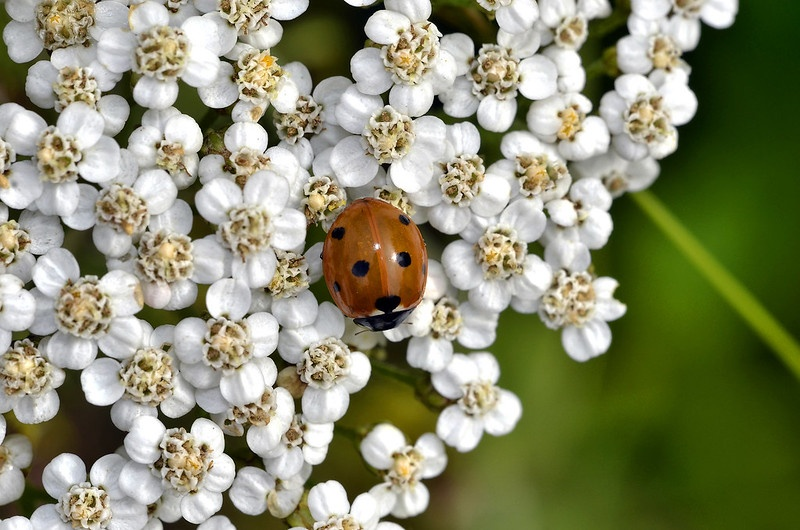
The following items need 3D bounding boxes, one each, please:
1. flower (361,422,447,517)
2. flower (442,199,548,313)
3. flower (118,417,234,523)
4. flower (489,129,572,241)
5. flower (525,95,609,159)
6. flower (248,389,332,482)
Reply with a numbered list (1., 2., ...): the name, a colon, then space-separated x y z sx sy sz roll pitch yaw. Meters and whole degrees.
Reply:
1. flower: 0.000 0.736 3.128 0.308 0.213 0.258 8 56 -1
2. flower: 0.344 -0.082 3.056 0.385 0.406 0.169 -2 62 -8
3. flower: -0.737 0.669 2.914 0.343 0.158 0.360 -31 98 -11
4. flower: 0.455 -0.335 3.028 0.265 0.111 0.276 -19 94 -17
5. flower: 0.624 -0.472 3.069 0.075 0.197 0.251 8 25 -48
6. flower: -0.379 0.586 2.978 0.255 0.236 0.216 19 56 6
